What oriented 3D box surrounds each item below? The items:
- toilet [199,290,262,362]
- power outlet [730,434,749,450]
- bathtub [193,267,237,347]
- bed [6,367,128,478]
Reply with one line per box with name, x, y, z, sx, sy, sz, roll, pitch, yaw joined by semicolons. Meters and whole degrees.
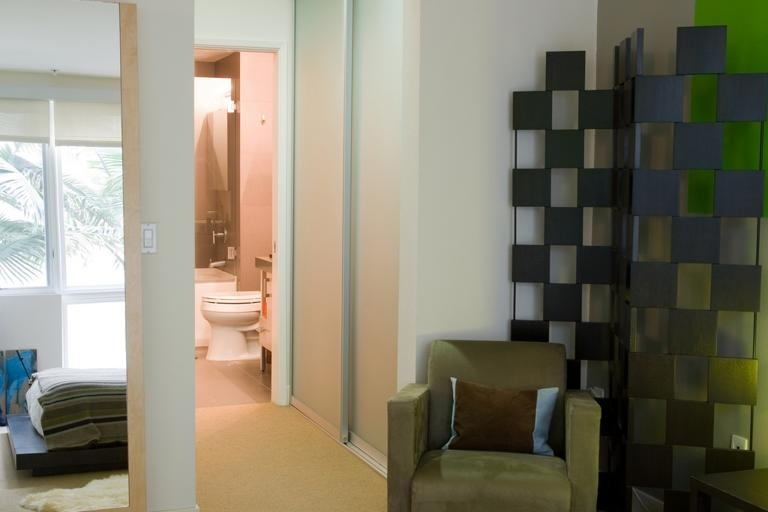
toilet;-1.547;0.748;6.963;0.783;0.695;0.687;-2;-1;-43
power outlet;1.823;0.956;3.290;0.011;0.073;0.080;10;-10;-27
bathtub;-1.764;0.581;6.733;0.490;0.665;0.901;-1;3;-20
bed;-1.595;0.852;3.281;0.521;0.271;0.560;2;2;-19
